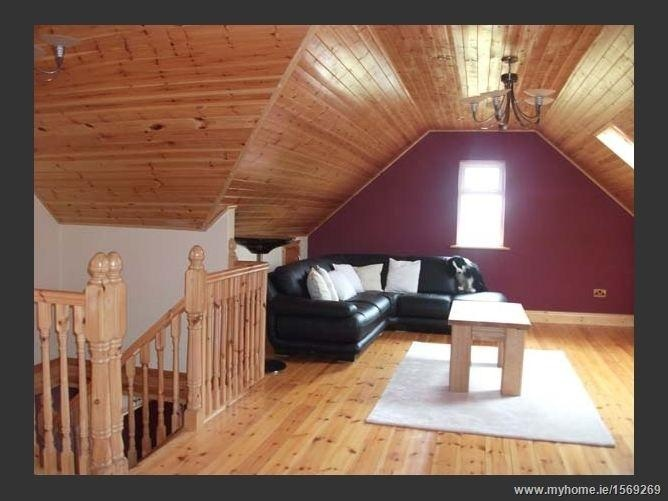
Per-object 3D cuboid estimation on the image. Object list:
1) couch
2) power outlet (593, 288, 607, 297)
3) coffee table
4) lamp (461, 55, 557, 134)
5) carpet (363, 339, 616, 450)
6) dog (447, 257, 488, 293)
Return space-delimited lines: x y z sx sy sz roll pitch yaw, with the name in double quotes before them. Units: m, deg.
"couch" 0.334 0.605 5.608 1.866 0.571 1.447 0 1 15
"power outlet" 3.443 0.546 6.727 0.150 0.082 0.018 1 4 16
"coffee table" 1.489 0.909 4.387 0.843 0.548 0.810 -2 -12 31
"lamp" 1.506 -1.368 4.406 0.694 0.404 0.709 -17 21 -34
"carpet" 1.258 1.152 4.351 1.655 0.041 1.768 2 7 13
"dog" 1.667 0.324 6.503 0.260 0.325 0.472 -15 3 -3
